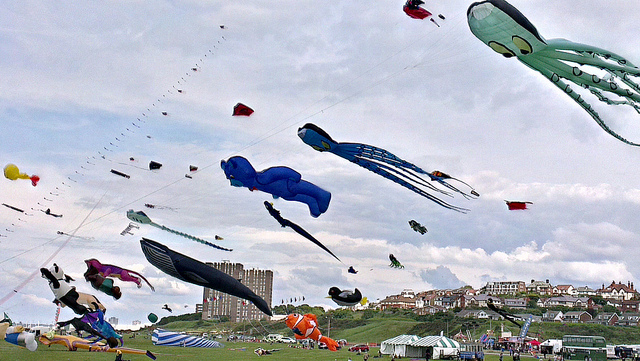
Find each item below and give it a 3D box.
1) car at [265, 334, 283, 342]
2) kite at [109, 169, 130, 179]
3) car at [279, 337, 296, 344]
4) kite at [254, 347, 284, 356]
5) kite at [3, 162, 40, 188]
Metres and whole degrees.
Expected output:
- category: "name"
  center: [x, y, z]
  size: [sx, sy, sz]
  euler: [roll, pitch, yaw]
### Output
- category: "car"
  center: [-11.088, 37.706, 173.927]
  size: [3.097, 1.136, 3.914]
  euler: [-1, -10, 10]
- category: "kite"
  center: [-17.919, -0.595, 64.463]
  size: [2.546, 0.382, 0.357]
  euler: [23, 23, 10]
- category: "car"
  center: [-7.650, 36.555, 166.053]
  size: [2.935, 0.864, 1.253]
  euler: [-1, -11, 9]
- category: "kite"
  center: [-9.242, 30.082, 126.526]
  size: [3.957, 0.886, 2.575]
  euler: [1, 11, -6]
- category: "kite"
  center: [-35.178, -0.735, 83.784]
  size: [4.313, 1.635, 1.811]
  euler: [16, -40, -34]
